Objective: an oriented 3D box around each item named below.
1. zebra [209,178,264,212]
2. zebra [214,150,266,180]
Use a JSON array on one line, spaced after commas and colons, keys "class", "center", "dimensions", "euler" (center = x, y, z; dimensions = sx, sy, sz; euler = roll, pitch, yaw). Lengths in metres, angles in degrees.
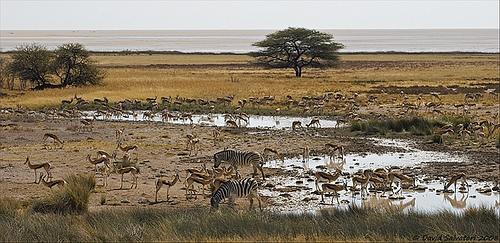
[{"class": "zebra", "center": [-1.576, 8.456, 80.230], "dimensions": [9.408, 4.347, 3.603], "euler": [1, -1, 0]}, {"class": "zebra", "center": [-1.132, 4.846, 84.328], "dimensions": [5.593, 3.356, 2.041], "euler": [-1, 3, 0]}]
